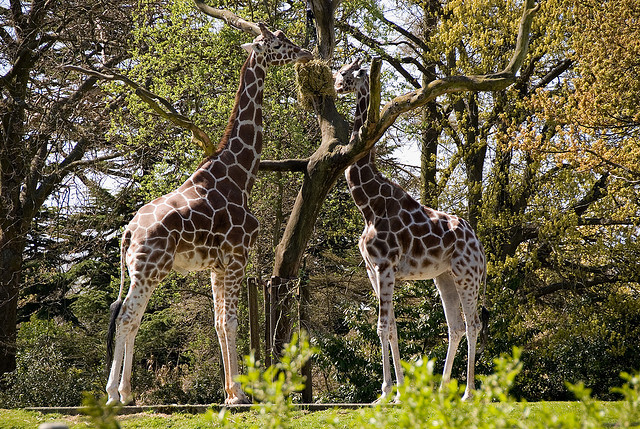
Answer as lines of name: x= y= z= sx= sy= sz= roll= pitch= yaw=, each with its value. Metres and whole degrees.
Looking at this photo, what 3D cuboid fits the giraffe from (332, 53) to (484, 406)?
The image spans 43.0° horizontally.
giraffe: x=1.816 y=0.079 z=16.641 sx=2.968 sy=7.676 sz=5.379 roll=0 pitch=-15 yaw=12
